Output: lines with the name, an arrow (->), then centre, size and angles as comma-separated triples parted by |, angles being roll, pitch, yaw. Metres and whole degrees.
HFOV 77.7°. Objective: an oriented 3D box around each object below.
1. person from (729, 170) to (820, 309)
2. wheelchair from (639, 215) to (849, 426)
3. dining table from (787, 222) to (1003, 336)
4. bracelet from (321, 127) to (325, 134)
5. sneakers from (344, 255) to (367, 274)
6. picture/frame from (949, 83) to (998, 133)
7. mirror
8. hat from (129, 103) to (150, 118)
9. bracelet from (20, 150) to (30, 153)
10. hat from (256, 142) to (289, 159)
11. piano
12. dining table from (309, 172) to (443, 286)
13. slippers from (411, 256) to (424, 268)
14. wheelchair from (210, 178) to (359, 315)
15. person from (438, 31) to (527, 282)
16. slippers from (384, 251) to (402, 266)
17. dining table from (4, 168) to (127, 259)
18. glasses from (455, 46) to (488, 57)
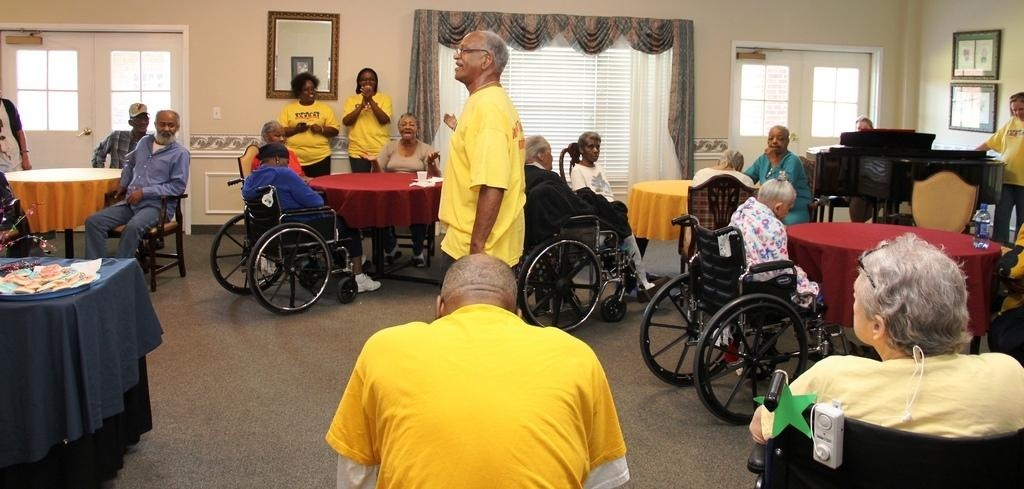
person -> 2.312, -0.034, 5.686 | 0.650, 1.040, 0.797 | -12, 25, -25
wheelchair -> 2.093, 0.596, 5.853 | 1.966, 1.535, 1.311 | -12, 12, -38
dining table -> 3.313, 0.112, 5.677 | 1.259, 0.455, 1.269 | -4, 11, -9
bracelet -> -2.742, -1.646, 9.213 | 0.016, 0.065, 0.067 | -2, 5, -44
sneakers -> -1.811, 0.249, 7.361 | 0.158, 0.184, 0.186 | 1, 6, -29
picture/frame -> 7.077, -2.088, 9.742 | 0.063, 0.872, 0.883 | -5, 16, -24
mirror -> -3.114, -2.827, 9.375 | 1.418, 1.554, 0.080 | 0, 3, -8
hat -> -4.791, -1.725, 8.156 | 0.229, 0.146, 0.302 | -5, 5, -35
bracelet -> -6.646, -1.262, 8.704 | 0.129, 0.029, 0.119 | 0, 2, 3
hat -> -2.665, -1.025, 7.105 | 0.236, 0.127, 0.215 | -4, -3, 27
piano -> 4.786, -0.687, 8.142 | 1.840, 0.900, 1.616 | 14, 0, 12
dining table -> -1.443, -0.144, 7.722 | 1.231, 0.899, 1.208 | -9, 0, -36
slippers -> -1.220, 0.227, 8.168 | 0.139, 0.132, 0.347 | 0, -3, -12
wheelchair -> -2.536, -0.011, 7.131 | 1.609, 1.271, 1.575 | 2, 10, -3
person -> -0.224, -0.689, 4.828 | 0.648, 1.824, 0.564 | -1, 12, -6
slippers -> -1.559, 0.182, 8.223 | 0.198, 0.221, 0.570 | -1, -1, 6
dining table -> -5.301, -0.354, 7.591 | 1.004, 0.981, 0.953 | 7, 13, 28
glasses -> -0.322, -1.465, 4.857 | 0.140, 0.039, 0.131 | 0, 7, -10
